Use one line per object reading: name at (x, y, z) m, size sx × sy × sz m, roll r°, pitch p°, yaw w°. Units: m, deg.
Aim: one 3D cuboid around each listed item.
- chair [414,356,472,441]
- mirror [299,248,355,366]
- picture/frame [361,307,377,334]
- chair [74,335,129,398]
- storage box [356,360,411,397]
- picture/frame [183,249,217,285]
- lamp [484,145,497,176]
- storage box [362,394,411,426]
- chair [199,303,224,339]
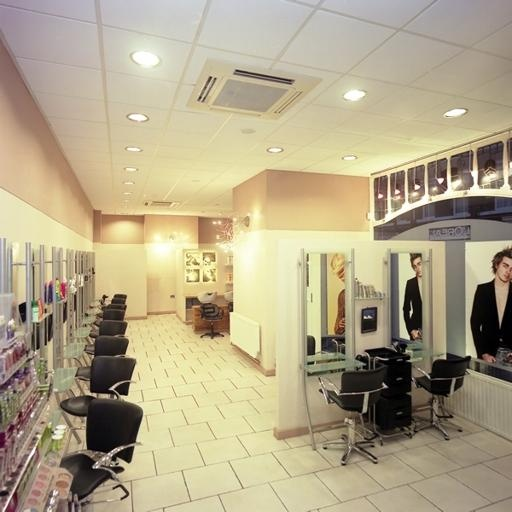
chair at (2.065, 1.492, 4.580) m, size 0.545 × 0.909 × 1.000 m, roll 0°, pitch 2°, yaw 21°
mirror at (0.767, 0.549, 4.415) m, size 0.689 × 1.241 × 0.190 m, roll -1°, pitch 2°, yaw -33°
picture/frame at (1.302, 0.742, 4.729) m, size 0.327 × 0.349 × 0.047 m, roll 1°, pitch 1°, yaw -29°
chair at (-1.913, 1.249, 4.886) m, size 0.563 × 0.704 × 0.612 m, roll 4°, pitch -12°, yaw 3°
storage box at (1.466, 1.278, 4.613) m, size 0.488 × 0.488 × 0.501 m, roll 0°, pitch -2°, yaw -14°
picture/frame at (-1.631, 0.312, 11.282) m, size 1.019 × 0.958 × 0.100 m, roll 1°, pitch -3°, yaw -22°
lamp at (2.686, -1.099, 4.653) m, size 0.051 × 0.338 × 0.177 m, roll 0°, pitch 2°, yaw -7°
storage box at (1.448, 1.655, 4.525) m, size 0.372 × 0.342 × 0.369 m, roll 0°, pitch -3°, yaw -18°
chair at (-1.062, 1.464, 9.497) m, size 0.515 × 0.748 × 0.872 m, roll 0°, pitch 1°, yaw -7°
